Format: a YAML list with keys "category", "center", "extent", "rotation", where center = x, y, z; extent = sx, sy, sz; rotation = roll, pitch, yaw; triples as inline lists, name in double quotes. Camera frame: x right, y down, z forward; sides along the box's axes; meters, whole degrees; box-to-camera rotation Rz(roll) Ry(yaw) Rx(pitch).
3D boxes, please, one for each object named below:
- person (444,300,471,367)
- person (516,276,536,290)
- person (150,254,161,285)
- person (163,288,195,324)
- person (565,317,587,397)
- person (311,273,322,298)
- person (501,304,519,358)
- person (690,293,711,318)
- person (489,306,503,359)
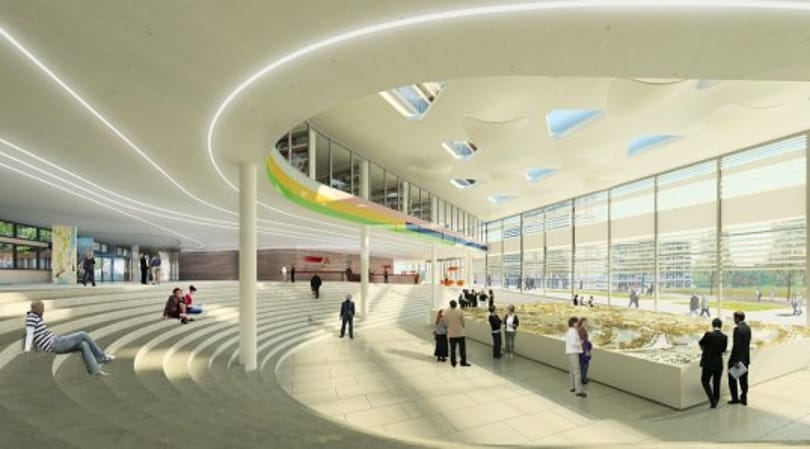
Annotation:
- category: "person"
  center: [1.811, 3.675, 15.448]
  extent: [1.010, 1.653, 1.456]
  rotation: [7, 3, 6]
- category: "person"
  center: [8.772, 4.329, 32.422]
  extent: [1.001, 0.651, 0.946]
  rotation: [-2, 0, 11]
- category: "person"
  center: [-10.965, 1.946, 19.780]
  extent: [0.342, 1.513, 1.387]
  rotation: [5, 3, -29]
- category: "person"
  center: [-7.492, 2.729, 14.976]
  extent: [0.888, 1.031, 0.562]
  rotation: [8, 4, 14]
- category: "person"
  center: [4.992, 3.824, 12.962]
  extent: [0.768, 2.000, 0.556]
  rotation: [9, 4, 19]
- category: "person"
  center: [-4.392, 3.045, 22.162]
  extent: [0.479, 1.105, 0.992]
  rotation: [7, 3, -11]
- category: "person"
  center: [3.765, 3.800, 15.988]
  extent: [0.520, 1.468, 1.166]
  rotation: [8, 4, 14]
- category: "person"
  center: [13.456, 3.683, 20.380]
  extent: [0.631, 1.094, 0.750]
  rotation: [4, 4, -40]
- category: "person"
  center: [3.292, 3.891, 16.155]
  extent: [0.660, 1.407, 1.197]
  rotation: [8, 3, 12]
